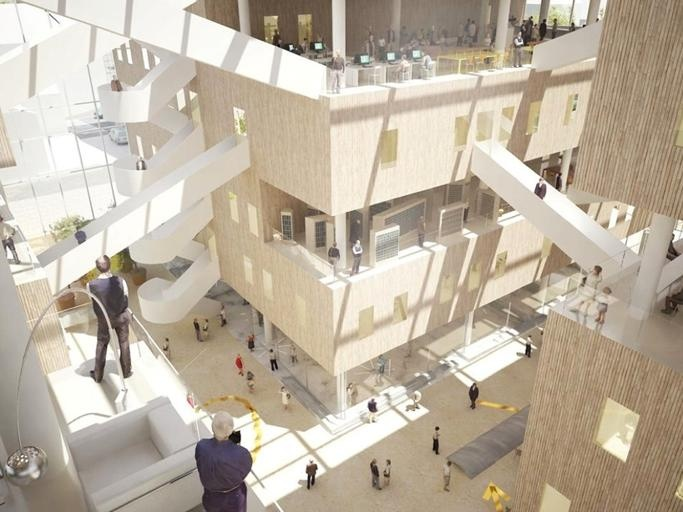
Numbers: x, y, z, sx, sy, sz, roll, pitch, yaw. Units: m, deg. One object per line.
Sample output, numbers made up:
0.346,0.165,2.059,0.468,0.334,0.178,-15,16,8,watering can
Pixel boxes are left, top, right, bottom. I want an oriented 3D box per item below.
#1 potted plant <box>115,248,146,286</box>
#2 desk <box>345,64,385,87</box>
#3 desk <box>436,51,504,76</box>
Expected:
-11.404,0.534,27.097,1.007,2.213,1.063,13,37,18,potted plant
0.823,-6.311,17.510,0.897,0.454,0.494,-20,43,-26,desk
4.947,-7.569,19.452,3.428,0.852,0.338,-20,35,-25,desk
